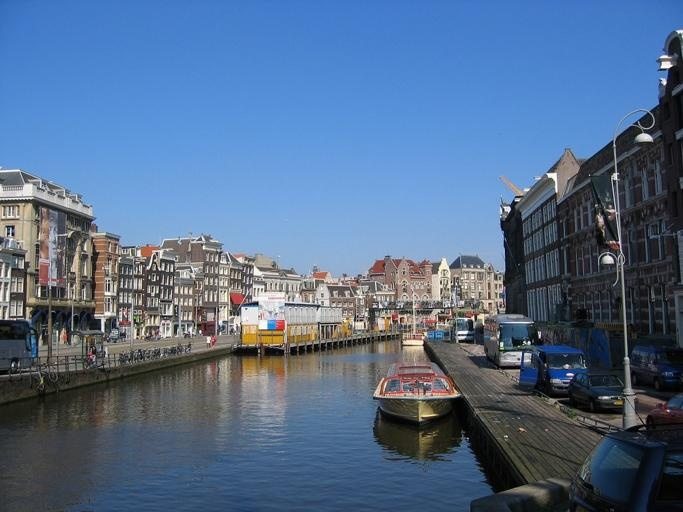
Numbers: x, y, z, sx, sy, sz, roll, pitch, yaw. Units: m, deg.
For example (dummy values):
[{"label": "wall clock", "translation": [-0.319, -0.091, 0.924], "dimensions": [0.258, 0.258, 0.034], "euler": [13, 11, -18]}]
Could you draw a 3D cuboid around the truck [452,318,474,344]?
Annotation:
[{"label": "truck", "translation": [19.562, 11.802, 106.786], "dimensions": [3.017, 3.929, 3.227], "euler": [-3, -8, 15]}]

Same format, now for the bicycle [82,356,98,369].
[{"label": "bicycle", "translation": [-21.078, 8.994, 56.336], "dimensions": [1.121, 1.197, 1.191], "euler": [-1, -7, -1]}]

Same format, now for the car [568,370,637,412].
[{"label": "car", "translation": [12.938, 6.737, 33.715], "dimensions": [2.163, 1.688, 3.844], "euler": [0, -3, -9]}]

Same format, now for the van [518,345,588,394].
[{"label": "van", "translation": [12.188, 6.633, 39.358], "dimensions": [3.497, 2.458, 4.950], "euler": [-1, -5, 9]}]
